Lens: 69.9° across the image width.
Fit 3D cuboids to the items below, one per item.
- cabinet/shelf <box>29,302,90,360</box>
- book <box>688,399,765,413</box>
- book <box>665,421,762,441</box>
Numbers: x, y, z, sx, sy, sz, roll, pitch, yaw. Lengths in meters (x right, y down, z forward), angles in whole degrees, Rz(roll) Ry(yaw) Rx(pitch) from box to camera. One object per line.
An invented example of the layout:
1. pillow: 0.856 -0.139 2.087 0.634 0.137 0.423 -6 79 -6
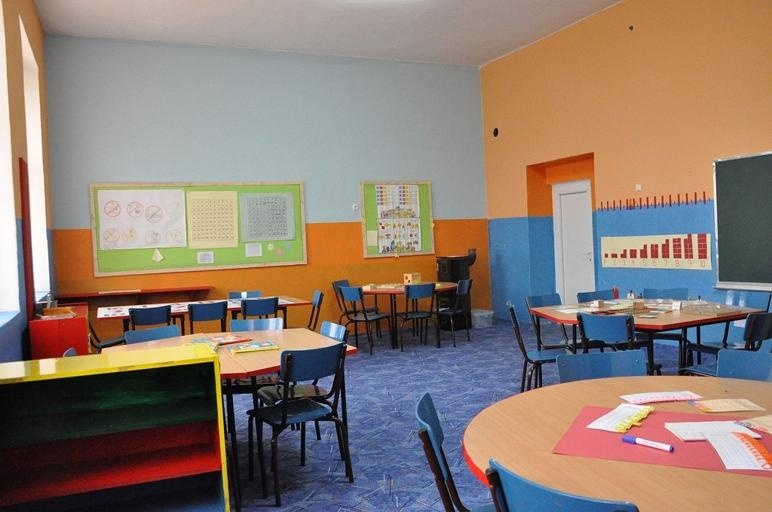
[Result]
1. cabinet/shelf: -3.257 0.848 5.684 0.627 0.387 0.326 -5 -4 8
2. book: 1.961 0.863 3.157 0.374 0.026 0.145 -1 8 3
3. book: 1.738 0.939 2.940 0.443 0.043 0.162 -1 8 2
